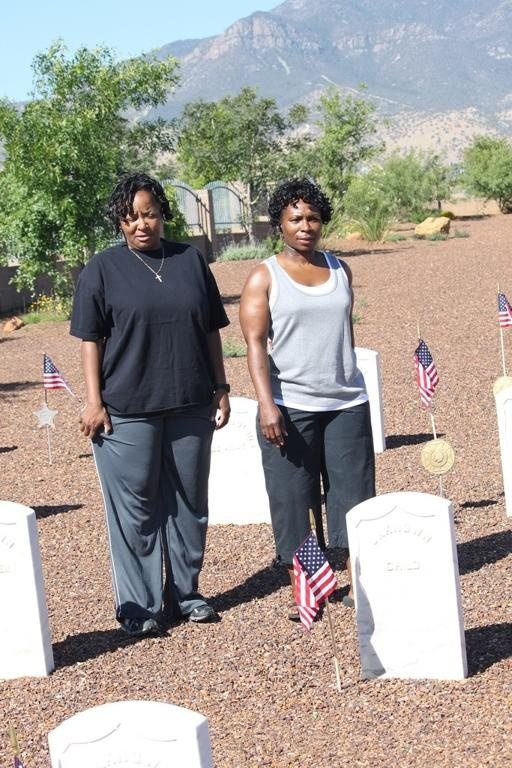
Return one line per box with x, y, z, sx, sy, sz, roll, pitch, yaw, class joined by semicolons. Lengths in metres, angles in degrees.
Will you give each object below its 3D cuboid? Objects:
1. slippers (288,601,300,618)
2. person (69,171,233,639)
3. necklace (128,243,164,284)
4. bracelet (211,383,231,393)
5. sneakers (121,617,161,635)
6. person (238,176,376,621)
0.168;1.013;3.349;0.033;0.039;0.094;0;-4;-3;slippers
-0.395;0.117;3.125;0.648;1.933;0.355;-7;9;-12;person
-0.422;-0.468;2.978;0.133;0.150;0.118;-6;8;-7;necklace
-0.152;0.019;3.256;0.054;0.036;0.069;1;-13;-6;bracelet
-0.497;1.030;3.202;0.128;0.050;0.083;-2;-9;16;sneakers
0.198;-0.026;2.988;0.481;1.553;0.329;-6;9;-5;person
